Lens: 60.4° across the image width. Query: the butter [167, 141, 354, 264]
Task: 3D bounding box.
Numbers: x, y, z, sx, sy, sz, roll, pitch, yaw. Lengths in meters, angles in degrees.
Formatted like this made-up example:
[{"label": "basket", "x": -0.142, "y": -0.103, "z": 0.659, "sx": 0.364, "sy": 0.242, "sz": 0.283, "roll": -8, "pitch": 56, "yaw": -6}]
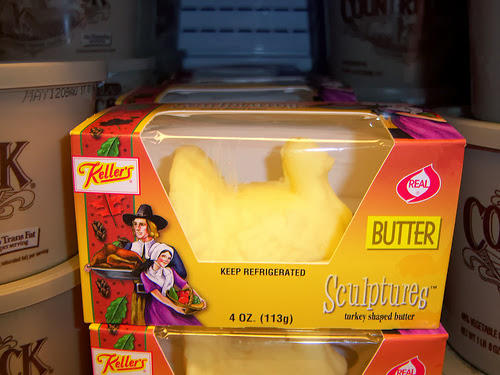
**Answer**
[{"label": "butter", "x": 0.024, "y": 0.012, "z": 0.719, "sx": 0.300, "sy": 0.173, "sz": 0.164, "roll": -5, "pitch": 25, "yaw": 3}]
